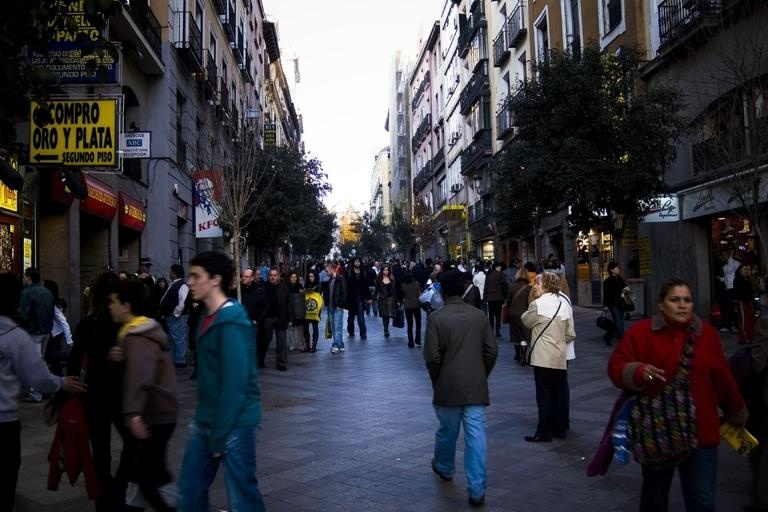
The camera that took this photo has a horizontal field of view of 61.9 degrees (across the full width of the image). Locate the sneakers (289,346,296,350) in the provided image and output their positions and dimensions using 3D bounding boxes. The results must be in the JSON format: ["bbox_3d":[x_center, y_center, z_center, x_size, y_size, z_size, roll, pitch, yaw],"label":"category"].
[{"bbox_3d":[-2.477,2.456,17.231,0.199,0.121,0.145,-2,-26,2],"label":"sneakers"}]

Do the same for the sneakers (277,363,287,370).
[{"bbox_3d":[-2.231,2.414,13.951,0.182,0.201,0.108,-2,5,11],"label":"sneakers"}]

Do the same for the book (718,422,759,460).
[{"bbox_3d":[3.180,1.631,5.780,0.306,0.098,0.316,33,20,0],"label":"book"}]

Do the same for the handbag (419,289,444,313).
[{"bbox_3d":[1.000,1.055,13.382,0.443,0.698,0.613,-2,19,4],"label":"handbag"}]

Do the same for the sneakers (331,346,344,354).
[{"bbox_3d":[-1.206,2.445,16.514,0.123,0.165,0.383,-4,-11,27],"label":"sneakers"}]

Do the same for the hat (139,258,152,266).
[{"bbox_3d":[-6.342,0.165,16.980,0.304,0.126,0.219,-3,-1,41],"label":"hat"}]
